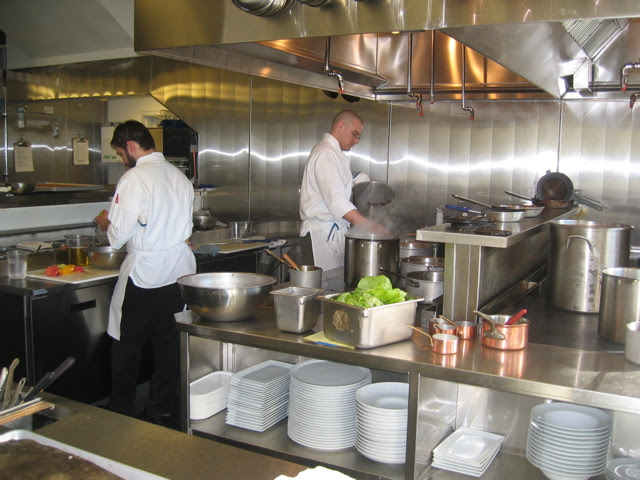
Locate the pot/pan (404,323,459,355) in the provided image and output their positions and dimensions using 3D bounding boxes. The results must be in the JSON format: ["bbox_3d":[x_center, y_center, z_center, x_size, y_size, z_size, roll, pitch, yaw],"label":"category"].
[{"bbox_3d":[0.382,0.335,1.788,0.165,0.061,0.063,4,9,35],"label":"pot/pan"}]

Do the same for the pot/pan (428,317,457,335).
[{"bbox_3d":[0.436,0.305,1.863,0.051,0.028,0.082,0,3,-7],"label":"pot/pan"}]

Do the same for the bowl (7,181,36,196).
[{"bbox_3d":[-2.639,-0.453,4.689,0.151,0.065,0.150,-1,-1,0],"label":"bowl"}]

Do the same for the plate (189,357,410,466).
[{"bbox_3d":[-0.003,0.622,2.011,0.617,0.172,0.385,3,7,23],"label":"plate"}]

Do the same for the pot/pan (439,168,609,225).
[{"bbox_3d":[1.548,-0.317,3.843,0.949,0.127,0.549,2,23,5],"label":"pot/pan"}]

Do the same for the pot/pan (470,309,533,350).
[{"bbox_3d":[0.624,0.310,1.847,0.198,0.117,0.118,-4,8,-20],"label":"pot/pan"}]

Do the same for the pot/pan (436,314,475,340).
[{"bbox_3d":[0.486,0.310,1.864,0.132,0.049,0.070,1,3,28],"label":"pot/pan"}]

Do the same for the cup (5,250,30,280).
[{"bbox_3d":[-1.905,0.151,3.311,0.118,0.166,0.237,-3,7,-30],"label":"cup"}]

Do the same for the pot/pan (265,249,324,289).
[{"bbox_3d":[-0.141,0.136,2.425,0.287,0.201,0.145,1,6,10],"label":"pot/pan"}]

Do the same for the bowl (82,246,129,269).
[{"bbox_3d":[-1.415,0.119,3.496,0.189,0.079,0.185,1,10,0],"label":"bowl"}]

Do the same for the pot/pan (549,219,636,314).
[{"bbox_3d":[1.098,0.096,2.233,0.391,0.397,0.434,2,7,29],"label":"pot/pan"}]

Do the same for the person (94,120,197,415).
[{"bbox_3d":[-1.062,0.334,3.341,0.555,1.625,0.290,-2,6,-18],"label":"person"}]

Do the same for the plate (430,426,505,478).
[{"bbox_3d":[0.528,0.742,1.867,0.161,0.066,0.284,4,7,34],"label":"plate"}]

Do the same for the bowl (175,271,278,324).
[{"bbox_3d":[-0.365,0.229,2.088,0.370,0.165,0.287,-2,6,-18],"label":"bowl"}]

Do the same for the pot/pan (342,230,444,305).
[{"bbox_3d":[0.359,0.125,2.583,0.410,0.184,0.331,4,8,21],"label":"pot/pan"}]
